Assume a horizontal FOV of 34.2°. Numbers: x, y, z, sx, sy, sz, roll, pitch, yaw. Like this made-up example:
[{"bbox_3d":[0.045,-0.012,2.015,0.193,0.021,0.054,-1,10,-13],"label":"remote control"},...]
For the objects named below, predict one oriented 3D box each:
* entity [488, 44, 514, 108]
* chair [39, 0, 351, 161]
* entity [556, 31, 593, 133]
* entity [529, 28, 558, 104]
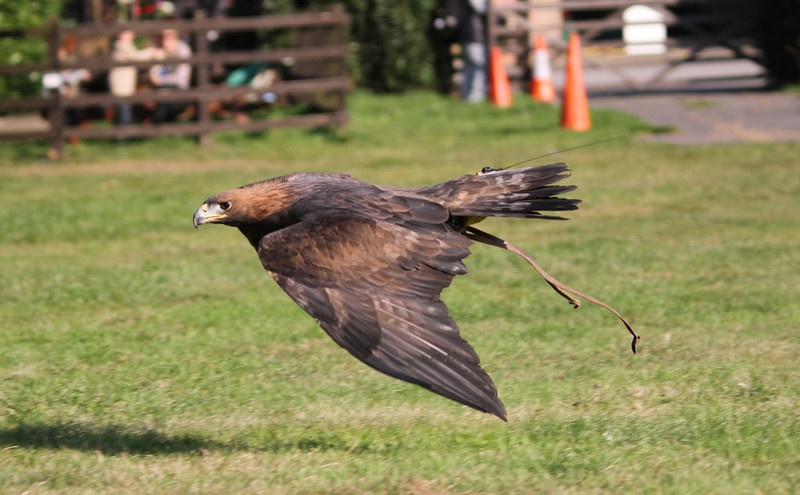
[{"bbox_3d":[1.756,-3.035,23.171,0.390,1.099,0.695,-6,15,5],"label":"entity"},{"bbox_3d":[-3.724,-2.882,22.750,5.603,1.365,1.216,-3,14,-10],"label":"chair"},{"bbox_3d":[2.839,-2.720,21.547,0.515,1.607,0.587,-5,16,6],"label":"entity"},{"bbox_3d":[2.471,-3.146,22.905,0.439,1.202,0.418,-5,16,6],"label":"entity"}]
